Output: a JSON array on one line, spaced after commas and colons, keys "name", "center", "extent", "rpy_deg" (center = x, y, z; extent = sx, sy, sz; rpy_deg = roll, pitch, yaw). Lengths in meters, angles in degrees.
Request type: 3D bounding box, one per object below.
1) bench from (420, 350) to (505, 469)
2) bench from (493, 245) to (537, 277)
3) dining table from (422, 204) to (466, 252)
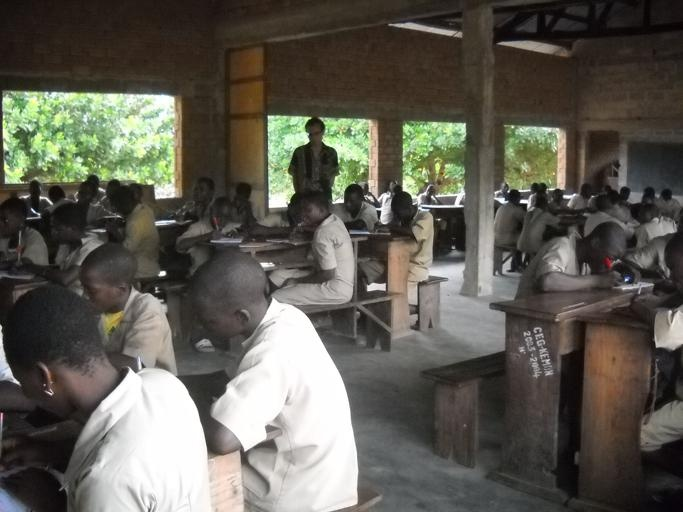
[{"name": "bench", "center": [0.815, 1.050, 3.872], "extent": [0.206, 0.347, 0.693], "rpy_deg": [6, 8, 41]}, {"name": "bench", "center": [2.793, 0.076, 9.351], "extent": [0.745, 0.432, 0.732], "rpy_deg": [-2, 4, -34]}, {"name": "dining table", "center": [1.982, -0.594, 11.812], "extent": [0.994, 0.914, 0.978], "rpy_deg": [-3, 7, -34]}]
